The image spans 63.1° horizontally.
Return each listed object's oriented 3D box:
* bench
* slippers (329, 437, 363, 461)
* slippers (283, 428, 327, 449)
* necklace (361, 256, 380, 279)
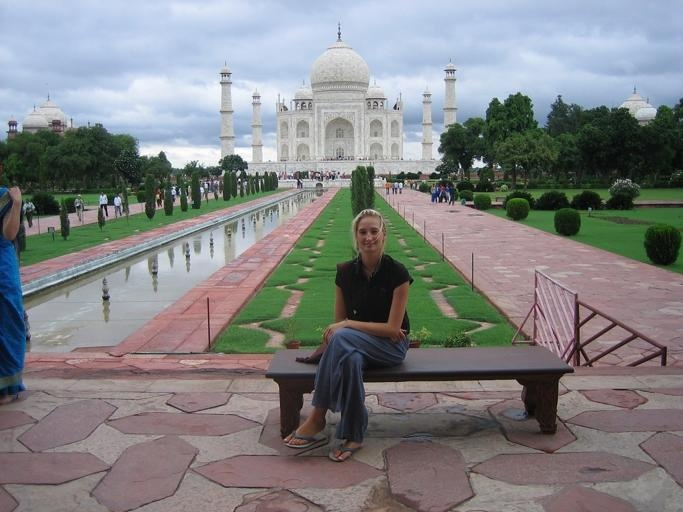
[{"bbox_3d":[0.378,0.658,2.730,1.363,0.347,0.380,-1,8,-2],"label":"bench"},{"bbox_3d":[0.019,0.852,2.507,0.138,0.065,0.178,0,8,5],"label":"slippers"},{"bbox_3d":[-0.160,0.842,2.581,0.160,0.034,0.084,3,-3,-23],"label":"slippers"},{"bbox_3d":[0.142,0.052,2.768,0.086,0.092,0.109,-3,0,4],"label":"necklace"}]
